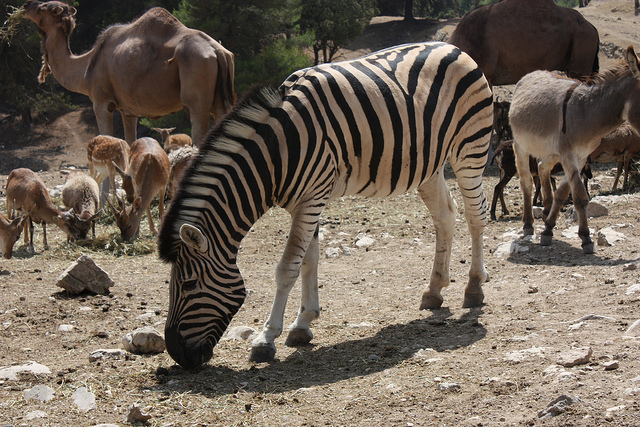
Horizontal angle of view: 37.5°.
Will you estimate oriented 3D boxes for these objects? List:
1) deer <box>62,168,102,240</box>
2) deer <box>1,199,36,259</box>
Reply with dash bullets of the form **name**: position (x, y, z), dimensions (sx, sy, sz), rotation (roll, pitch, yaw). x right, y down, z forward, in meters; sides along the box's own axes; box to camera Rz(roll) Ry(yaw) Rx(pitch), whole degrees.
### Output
- **deer**: position (-5.213, -0.280, 20.595), dimensions (0.621, 1.154, 2.230), rotation (-7, 21, -14)
- **deer**: position (-6.321, 0.368, 19.180), dimensions (0.552, 0.992, 1.003), rotation (0, 1, 16)
